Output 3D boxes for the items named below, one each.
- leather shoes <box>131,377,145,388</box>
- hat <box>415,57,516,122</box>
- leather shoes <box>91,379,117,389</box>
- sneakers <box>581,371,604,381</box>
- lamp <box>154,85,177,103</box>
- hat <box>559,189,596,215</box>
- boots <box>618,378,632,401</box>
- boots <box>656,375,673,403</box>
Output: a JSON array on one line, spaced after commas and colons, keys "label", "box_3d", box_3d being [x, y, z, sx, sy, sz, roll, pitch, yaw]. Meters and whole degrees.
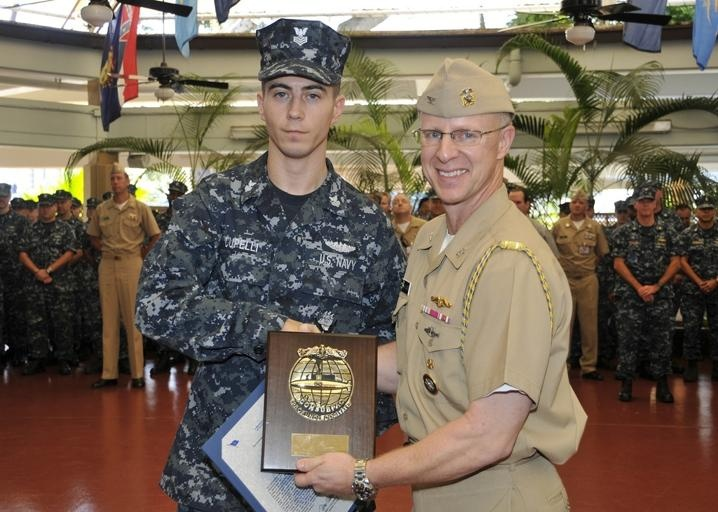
[{"label": "leather shoes", "box_3d": [-2.556, 1.469, 7.658, 0.083, 0.148, 0.152, 1, -16, -7]}, {"label": "hat", "box_3d": [0.409, -0.585, 2.567, 0.271, 0.158, 0.279, 3, -1, 21]}, {"label": "leather shoes", "box_3d": [-2.947, 1.478, 7.669, 0.273, 0.110, 0.091, 6, -1, -35]}, {"label": "sneakers", "box_3d": [2.968, 1.514, 8.382, 0.251, 0.109, 0.093, -5, -5, 40]}, {"label": "lamp", "box_3d": [-2.902, -2.411, 9.942, 0.389, 0.273, 0.381, 8, 15, 32]}, {"label": "hat", "box_3d": [3.177, -0.750, 9.623, 0.373, 0.219, 0.477, 0, -5, 8]}, {"label": "boots", "box_3d": [2.962, 1.478, 7.327, 0.146, 0.224, 0.301, 2, 4, 22]}, {"label": "boots", "box_3d": [3.390, 1.476, 7.303, 0.181, 0.243, 0.298, 2, 4, 25]}]
